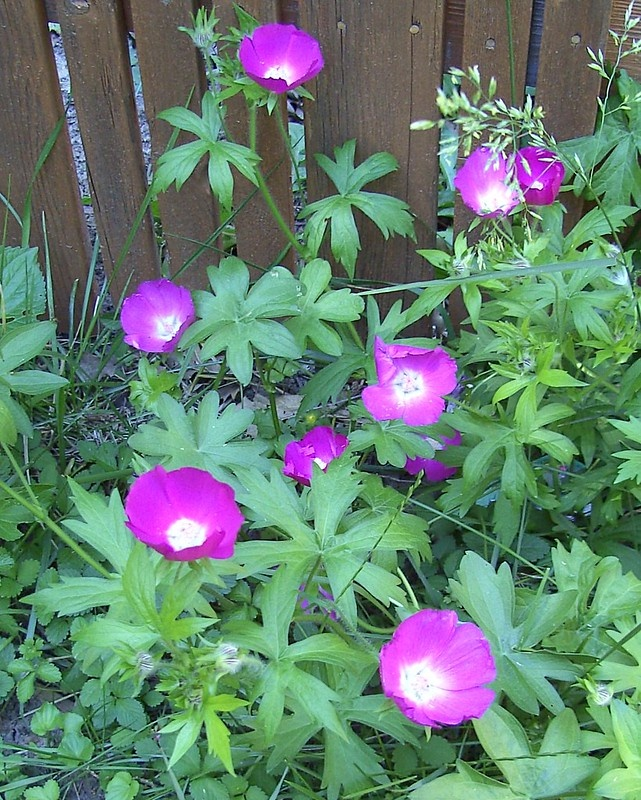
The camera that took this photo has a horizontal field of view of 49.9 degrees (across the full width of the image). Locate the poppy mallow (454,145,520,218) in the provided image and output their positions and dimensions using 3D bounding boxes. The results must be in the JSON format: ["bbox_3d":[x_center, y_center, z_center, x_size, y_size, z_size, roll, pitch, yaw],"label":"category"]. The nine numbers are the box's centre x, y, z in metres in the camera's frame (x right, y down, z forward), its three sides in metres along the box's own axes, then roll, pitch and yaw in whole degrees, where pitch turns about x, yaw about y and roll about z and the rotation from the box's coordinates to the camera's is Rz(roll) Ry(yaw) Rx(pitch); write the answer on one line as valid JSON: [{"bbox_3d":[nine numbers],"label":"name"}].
[{"bbox_3d":[0.403,-0.527,1.666,0.125,0.135,0.211,-3,33,1],"label":"poppy mallow"}]

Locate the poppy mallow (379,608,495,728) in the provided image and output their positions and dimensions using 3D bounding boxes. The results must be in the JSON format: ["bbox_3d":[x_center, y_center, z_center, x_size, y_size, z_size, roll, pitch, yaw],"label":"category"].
[{"bbox_3d":[0.171,0.369,1.001,0.172,0.067,0.162,10,4,43],"label":"poppy mallow"}]

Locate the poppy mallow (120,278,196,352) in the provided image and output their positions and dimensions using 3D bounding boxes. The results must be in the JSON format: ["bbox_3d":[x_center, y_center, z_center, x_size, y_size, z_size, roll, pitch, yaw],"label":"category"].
[{"bbox_3d":[-0.424,-0.210,1.833,0.092,0.205,0.174,31,86,33],"label":"poppy mallow"}]

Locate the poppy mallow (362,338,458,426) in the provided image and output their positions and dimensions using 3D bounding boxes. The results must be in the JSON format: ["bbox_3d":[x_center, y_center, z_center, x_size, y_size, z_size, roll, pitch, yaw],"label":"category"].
[{"bbox_3d":[0.192,-0.039,1.515,0.192,0.151,0.101,10,36,20],"label":"poppy mallow"}]

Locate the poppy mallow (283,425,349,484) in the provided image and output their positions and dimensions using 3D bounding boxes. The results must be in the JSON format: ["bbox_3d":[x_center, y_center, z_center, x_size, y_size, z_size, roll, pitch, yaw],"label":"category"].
[{"bbox_3d":[-0.021,0.132,1.631,0.097,0.103,0.209,11,36,21],"label":"poppy mallow"}]

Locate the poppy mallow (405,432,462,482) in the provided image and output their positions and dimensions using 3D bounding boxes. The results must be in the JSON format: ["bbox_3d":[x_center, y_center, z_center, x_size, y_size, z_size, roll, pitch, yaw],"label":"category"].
[{"bbox_3d":[0.296,0.160,1.805,0.150,0.144,0.043,-19,30,12],"label":"poppy mallow"}]
